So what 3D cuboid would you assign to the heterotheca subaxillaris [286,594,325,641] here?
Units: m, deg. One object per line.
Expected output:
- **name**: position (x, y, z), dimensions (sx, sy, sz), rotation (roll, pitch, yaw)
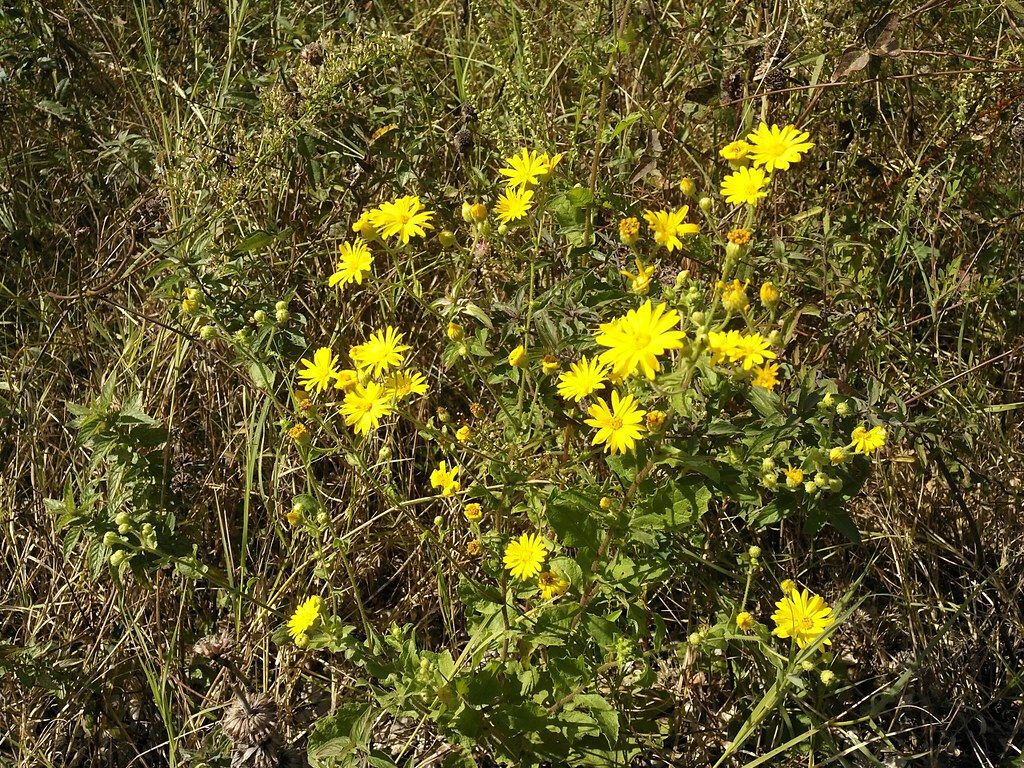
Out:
- **heterotheca subaxillaris**: position (-0.542, 0.613, 2.225), dimensions (0.113, 0.032, 0.119), rotation (-40, 36, 22)
